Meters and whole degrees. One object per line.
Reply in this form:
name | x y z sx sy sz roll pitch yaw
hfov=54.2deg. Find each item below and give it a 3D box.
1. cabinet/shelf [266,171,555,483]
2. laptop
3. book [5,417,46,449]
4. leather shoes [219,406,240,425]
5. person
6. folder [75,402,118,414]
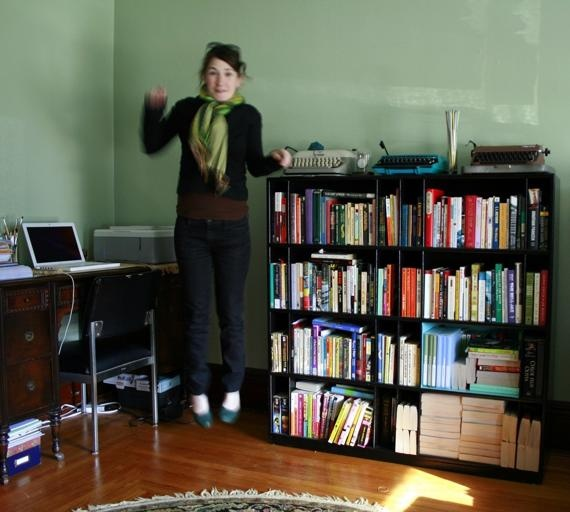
cabinet/shelf | 0.691 0.362 2.853 1.374 1.457 0.420 2 2 18
laptop | -1.346 -0.072 3.390 0.356 0.253 0.387 -1 3 22
book | -1.306 0.872 2.783 0.095 0.095 0.213 3 7 27
leather shoes | -0.286 0.830 2.972 0.108 0.117 0.068 14 9 -10
person | -0.358 -0.118 2.915 0.723 1.968 0.315 -1 6 -8
folder | -1.179 0.975 3.570 0.168 0.045 0.177 2 5 2
